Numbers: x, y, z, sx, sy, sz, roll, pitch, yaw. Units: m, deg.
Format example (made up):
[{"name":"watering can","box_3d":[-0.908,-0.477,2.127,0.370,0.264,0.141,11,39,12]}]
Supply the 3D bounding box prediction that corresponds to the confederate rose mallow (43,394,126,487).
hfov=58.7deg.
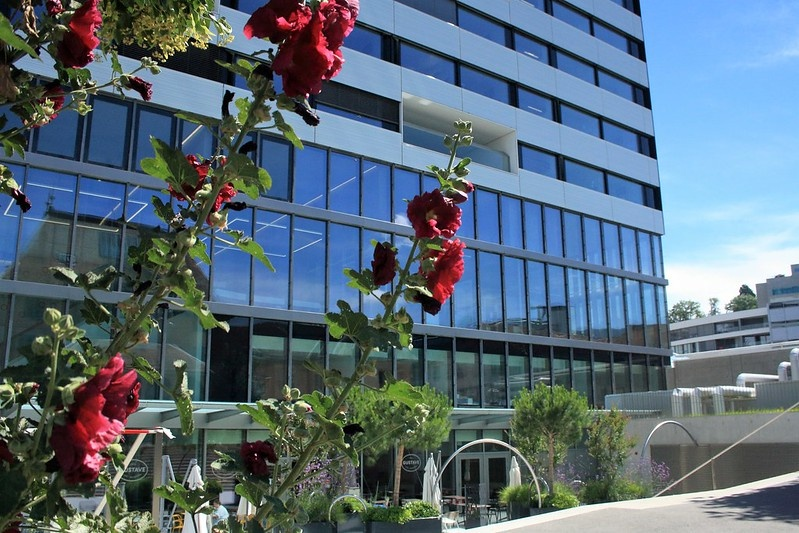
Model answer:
[{"name":"confederate rose mallow","box_3d":[-0.912,0.517,2.128,0.210,0.212,0.195,10,13,-36]}]

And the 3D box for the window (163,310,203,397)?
[{"name":"window","box_3d":[-5.208,2.089,17.173,1.027,2.226,1.046,5,-18,-16]}]

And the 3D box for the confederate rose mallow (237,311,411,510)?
[{"name":"confederate rose mallow","box_3d":[-0.306,0.539,2.708,0.790,0.770,0.356,-11,-20,31]}]

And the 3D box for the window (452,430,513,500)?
[{"name":"window","box_3d":[2.617,6.415,23.073,0.801,2.318,3.053,-15,-22,39]}]
